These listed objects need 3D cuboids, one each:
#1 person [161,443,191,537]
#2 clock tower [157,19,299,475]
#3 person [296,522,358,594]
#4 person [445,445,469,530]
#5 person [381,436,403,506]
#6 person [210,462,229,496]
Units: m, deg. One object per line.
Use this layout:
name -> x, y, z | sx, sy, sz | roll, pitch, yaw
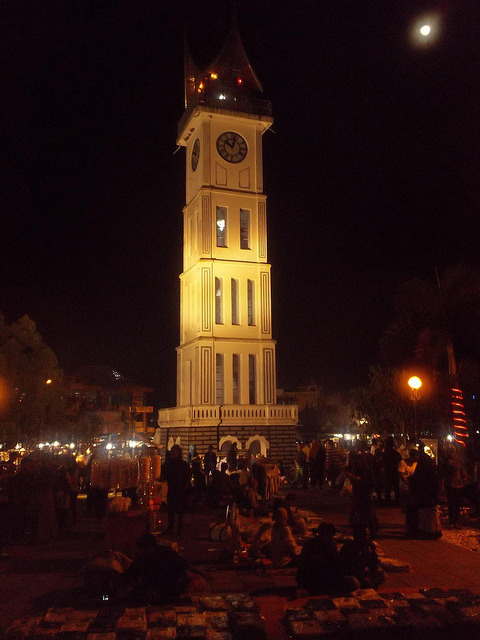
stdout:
person -> -1.356, 3.549, 12.585 | 0.589, 1.866, 0.462 | -6, -13, 23
clock tower -> -1.094, -5.092, 38.973 | 8.825, 35.514, 6.806 | -1, -12, 1
person -> 1.112, 3.121, 7.796 | 0.604, 1.153, 0.564 | 0, -12, -6
person -> 4.955, 3.778, 13.658 | 0.515, 1.876, 1.342 | -7, -15, 26
person -> 4.281, 3.828, 16.325 | 0.471, 1.934, 0.494 | 2, 25, 26
person -> -0.592, 4.675, 17.716 | 0.507, 1.013, 1.626 | 0, -17, -2
